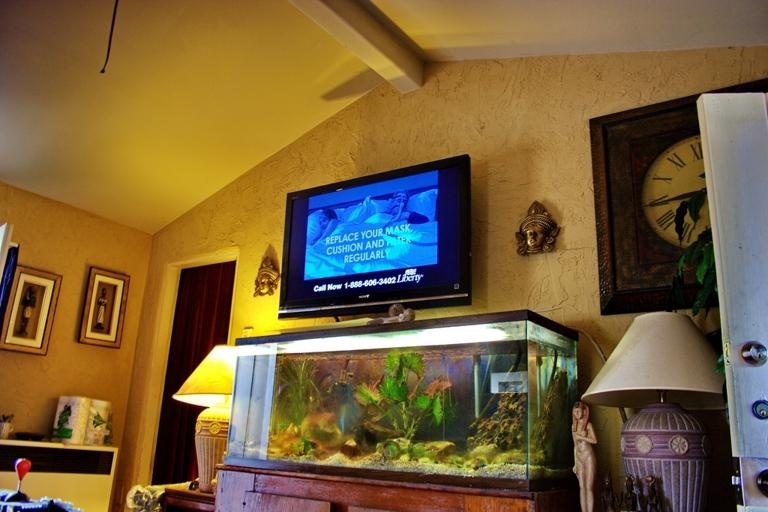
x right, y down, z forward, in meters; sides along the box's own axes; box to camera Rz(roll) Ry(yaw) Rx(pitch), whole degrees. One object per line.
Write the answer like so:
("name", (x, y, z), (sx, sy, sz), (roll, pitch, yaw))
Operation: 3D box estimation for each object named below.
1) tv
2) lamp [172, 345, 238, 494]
("tv", (-0.016, -0.098, 3.543), (1.151, 0.784, 0.120), (-8, -23, 27))
("lamp", (-1.146, 1.078, 3.695), (0.583, 0.978, 0.359), (-13, -23, 37))
